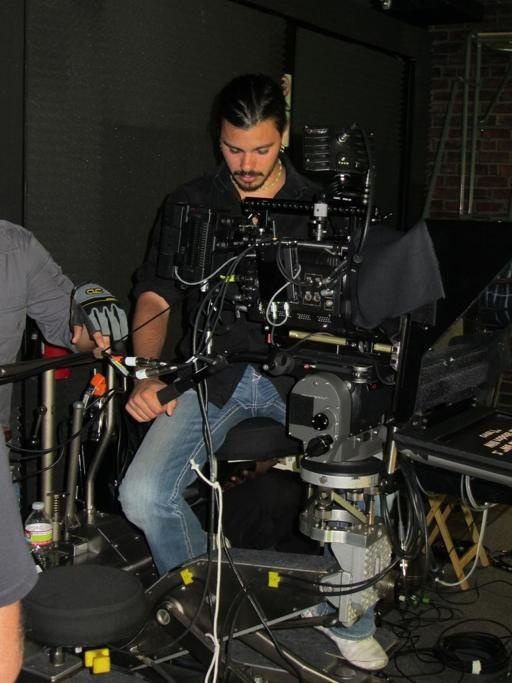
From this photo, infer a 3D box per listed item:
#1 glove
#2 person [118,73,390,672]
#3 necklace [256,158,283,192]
[{"bbox_3d":[-0.461,-0.097,1.745,0.141,0.185,0.057,-3,-31,-40],"label":"glove"},{"bbox_3d":[-0.065,0.064,1.893,0.711,1.830,0.769,1,8,-12],"label":"person"},{"bbox_3d":[0.065,-0.538,1.959,0.098,0.115,0.099,1,-37,9],"label":"necklace"}]
